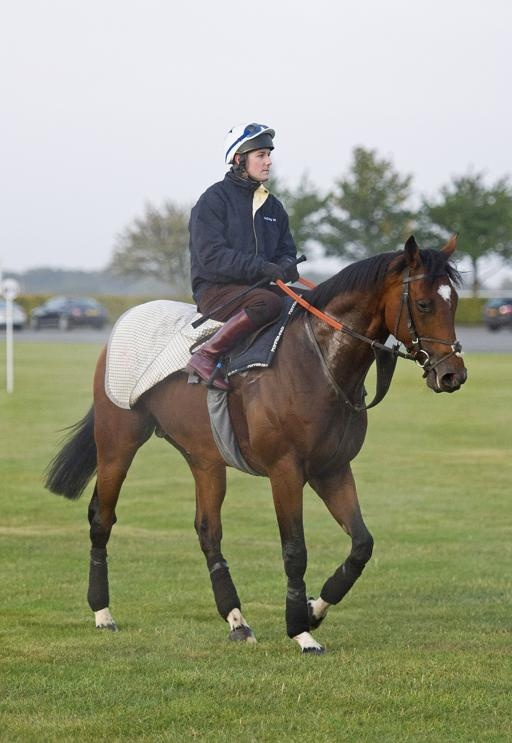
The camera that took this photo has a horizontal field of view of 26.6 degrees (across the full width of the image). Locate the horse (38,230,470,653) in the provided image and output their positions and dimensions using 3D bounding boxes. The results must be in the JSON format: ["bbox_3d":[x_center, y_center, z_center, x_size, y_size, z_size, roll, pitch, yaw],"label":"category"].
[{"bbox_3d":[0.042,0.363,5.398,2.391,1.934,0.704,2,3,33],"label":"horse"}]

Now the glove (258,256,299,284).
[{"bbox_3d":[0.114,-0.489,5.392,0.229,0.086,0.271,2,2,-14],"label":"glove"}]
